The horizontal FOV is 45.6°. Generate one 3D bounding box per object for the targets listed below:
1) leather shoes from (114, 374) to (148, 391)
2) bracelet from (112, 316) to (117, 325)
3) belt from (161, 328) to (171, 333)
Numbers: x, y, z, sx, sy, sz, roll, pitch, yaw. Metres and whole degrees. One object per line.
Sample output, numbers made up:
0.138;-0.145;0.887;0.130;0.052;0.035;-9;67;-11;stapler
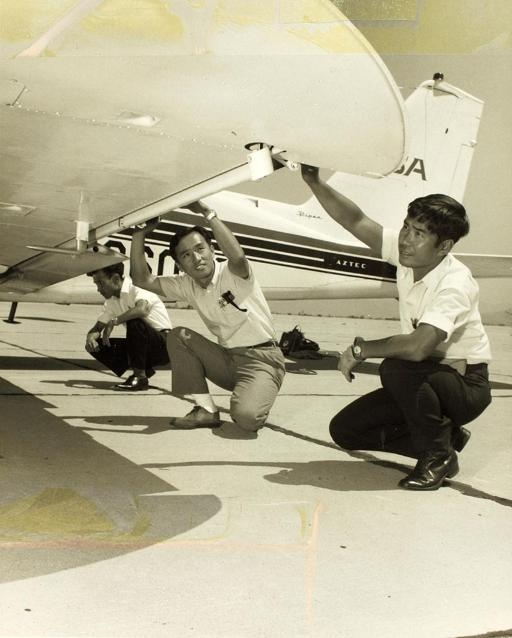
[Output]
-0.710;0.366;3.471;0.183;0.056;0.082;3;-7;-18;leather shoes
-0.819;0.012;3.534;0.049;0.054;0.018;6;46;-8;bracelet
-0.523;0.073;3.635;0.088;0.025;0.074;-1;4;-9;belt
